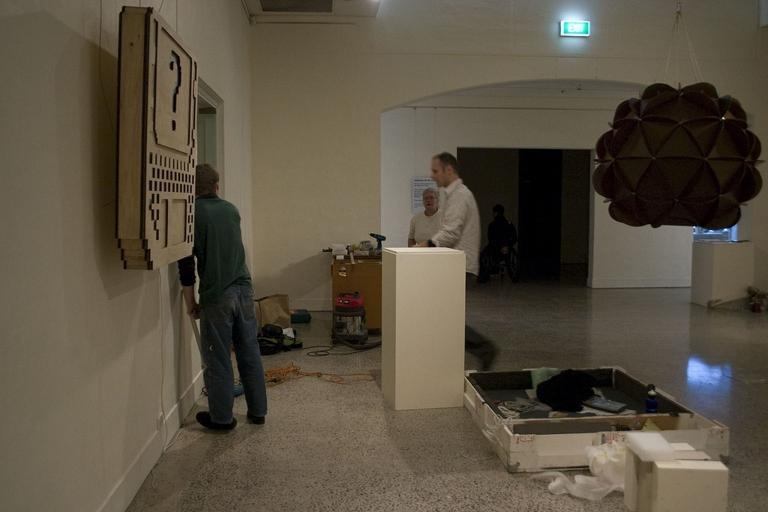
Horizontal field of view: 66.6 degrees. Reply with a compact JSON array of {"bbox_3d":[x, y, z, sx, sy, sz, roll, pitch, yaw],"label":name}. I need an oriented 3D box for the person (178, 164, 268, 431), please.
[{"bbox_3d":[-1.295,0.331,4.613,0.587,2.070,0.451,-5,10,-25],"label":"person"}]

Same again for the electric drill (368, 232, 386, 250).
[{"bbox_3d":[-0.051,-0.203,7.839,0.276,0.291,0.177,-5,7,-14],"label":"electric drill"}]
